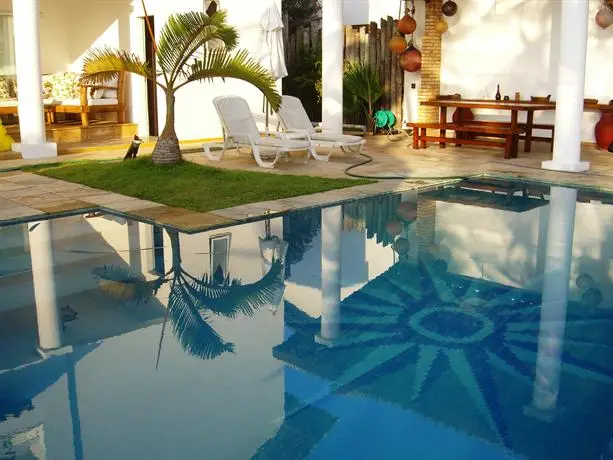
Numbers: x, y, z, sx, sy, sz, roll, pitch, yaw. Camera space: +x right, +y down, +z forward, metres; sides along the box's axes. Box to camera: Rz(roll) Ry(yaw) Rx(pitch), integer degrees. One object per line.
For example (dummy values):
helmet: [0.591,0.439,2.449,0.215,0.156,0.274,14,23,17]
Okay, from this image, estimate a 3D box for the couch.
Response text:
couch: [-5.815,-3.189,11.204,2.169,1.287,2.267,11,15,44]

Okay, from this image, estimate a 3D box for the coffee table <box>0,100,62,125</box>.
coffee table: [-6.299,-2.705,10.231,0.989,0.427,0.685,-1,18,-8]

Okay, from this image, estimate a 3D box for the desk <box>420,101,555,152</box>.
desk: [4.318,-2.507,10.592,2.865,1.395,2.407,9,20,42]

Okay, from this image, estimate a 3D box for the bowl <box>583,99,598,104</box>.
bowl: [6.472,-2.942,10.243,0.256,0.130,0.192,3,16,27]

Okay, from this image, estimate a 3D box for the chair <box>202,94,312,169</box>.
chair: [-0.945,-2.057,9.231,2.125,1.434,1.216,10,15,31]
